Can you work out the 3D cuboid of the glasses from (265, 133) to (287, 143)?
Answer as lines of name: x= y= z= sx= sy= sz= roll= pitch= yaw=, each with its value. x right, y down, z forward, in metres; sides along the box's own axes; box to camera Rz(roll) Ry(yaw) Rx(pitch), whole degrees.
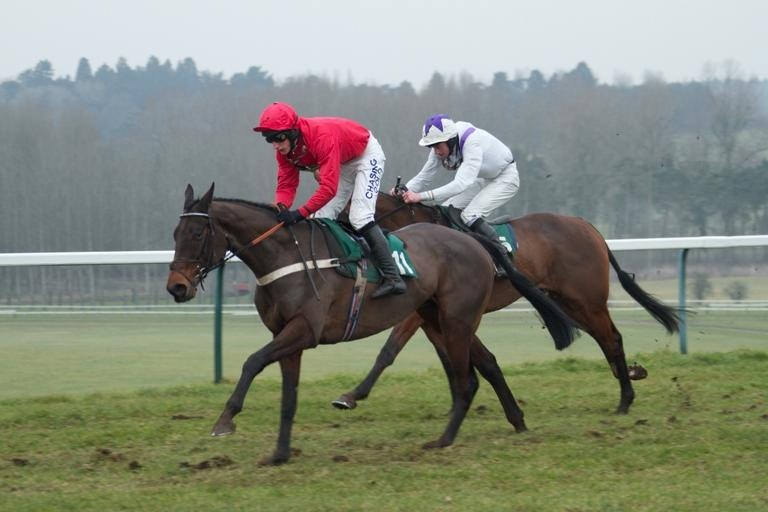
glasses: x=-0.893 y=-0.985 z=10.323 sx=0.168 sy=0.086 sz=0.090 roll=0 pitch=4 yaw=12

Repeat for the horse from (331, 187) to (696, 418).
horse: x=0.987 y=0.313 z=11.380 sx=4.572 sy=2.062 sz=0.766 roll=-1 pitch=-3 yaw=-31

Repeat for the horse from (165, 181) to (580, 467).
horse: x=-0.084 y=0.634 z=10.918 sx=4.164 sy=2.074 sz=0.904 roll=4 pitch=-8 yaw=-38

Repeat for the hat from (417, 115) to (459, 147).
hat: x=0.524 y=-1.184 z=11.456 sx=0.440 sy=0.175 sz=0.316 roll=-12 pitch=19 yaw=1

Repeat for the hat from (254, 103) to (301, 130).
hat: x=-0.920 y=-1.152 z=10.306 sx=0.426 sy=0.235 sz=0.181 roll=-3 pitch=4 yaw=-33
